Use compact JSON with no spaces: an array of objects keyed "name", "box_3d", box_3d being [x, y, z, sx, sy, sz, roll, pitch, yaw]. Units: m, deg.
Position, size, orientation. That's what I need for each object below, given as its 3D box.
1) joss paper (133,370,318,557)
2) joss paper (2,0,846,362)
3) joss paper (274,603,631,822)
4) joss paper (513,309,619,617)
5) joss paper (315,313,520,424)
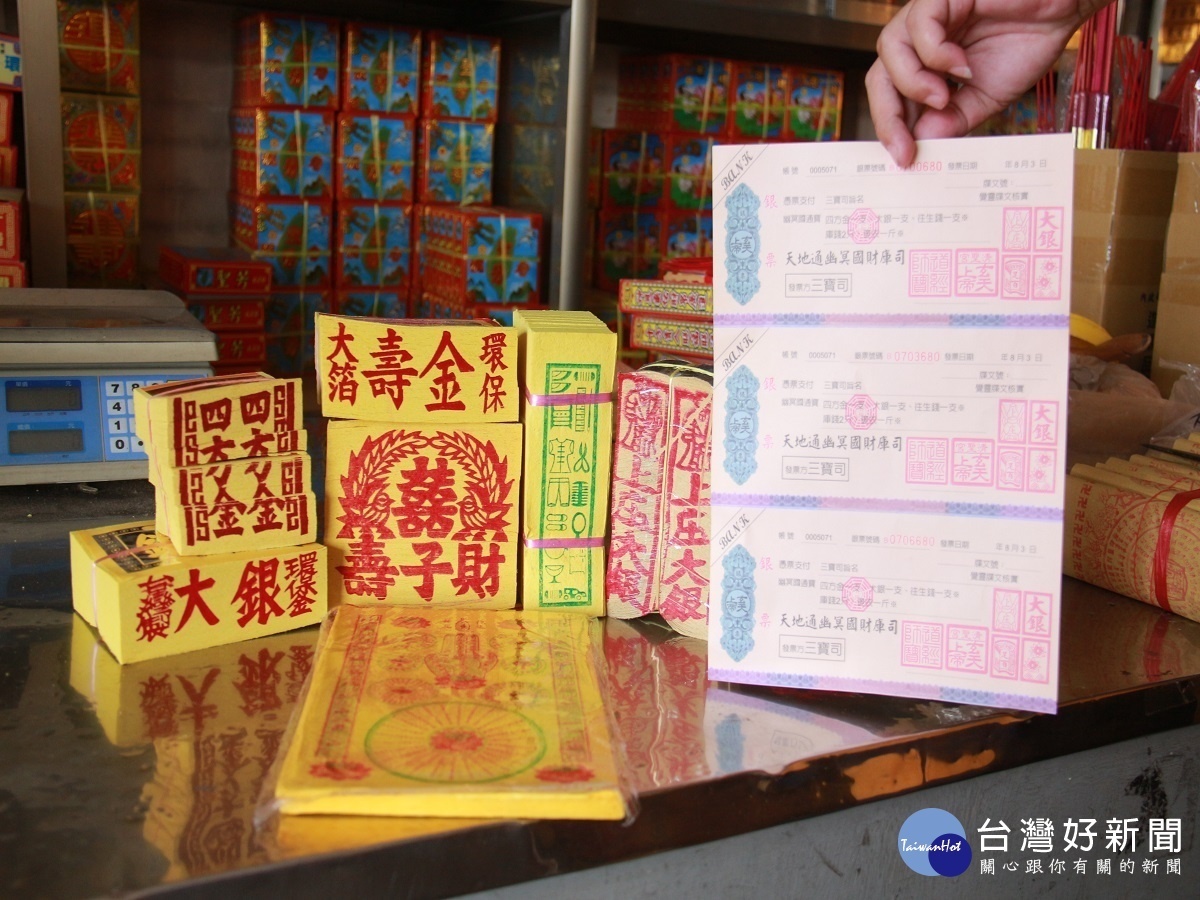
[{"name":"joss paper","box_3d":[-0.401,-0.012,1.128,0.195,0.229,0.244,-3,6,33]},{"name":"joss paper","box_3d":[-0.413,-0.524,1.736,0.914,0.724,0.279,1,6,-12]},{"name":"joss paper","box_3d":[-0.152,0.264,0.986,0.324,0.086,0.367,-2,13,-6]},{"name":"joss paper","box_3d":[-0.044,0.016,1.125,0.140,0.371,0.368,2,-2,1]},{"name":"joss paper","box_3d":[-0.216,-0.081,1.006,0.248,0.128,0.113,1,13,-2]}]
